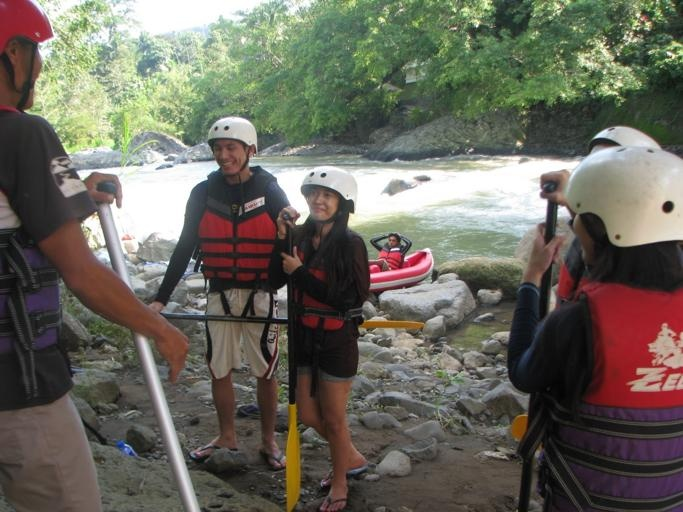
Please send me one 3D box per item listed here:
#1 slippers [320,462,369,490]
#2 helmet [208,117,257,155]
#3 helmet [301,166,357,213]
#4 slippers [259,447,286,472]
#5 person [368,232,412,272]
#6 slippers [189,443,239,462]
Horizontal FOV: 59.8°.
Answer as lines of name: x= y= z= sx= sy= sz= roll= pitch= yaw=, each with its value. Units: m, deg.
slippers: x=0.031 y=1.475 z=4.020 sx=0.335 sy=0.084 sz=0.125 roll=-7 pitch=-20 yaw=-31
helmet: x=-0.810 y=-0.907 z=4.402 sx=0.357 sy=0.265 sz=0.586 roll=0 pitch=10 yaw=-10
helmet: x=-0.042 y=-0.464 z=4.099 sx=0.303 sy=0.275 sz=0.375 roll=15 pitch=15 yaw=36
slippers: x=-0.468 y=1.417 z=4.170 sx=0.105 sy=0.062 sz=0.204 roll=-9 pitch=9 yaw=-27
person: x=0.880 y=-0.088 z=11.472 sx=0.855 sy=0.835 sz=0.759 roll=5 pitch=-12 yaw=22
slippers: x=-0.891 y=1.378 z=4.191 sx=0.371 sy=0.126 sz=0.142 roll=2 pitch=-18 yaw=-6
